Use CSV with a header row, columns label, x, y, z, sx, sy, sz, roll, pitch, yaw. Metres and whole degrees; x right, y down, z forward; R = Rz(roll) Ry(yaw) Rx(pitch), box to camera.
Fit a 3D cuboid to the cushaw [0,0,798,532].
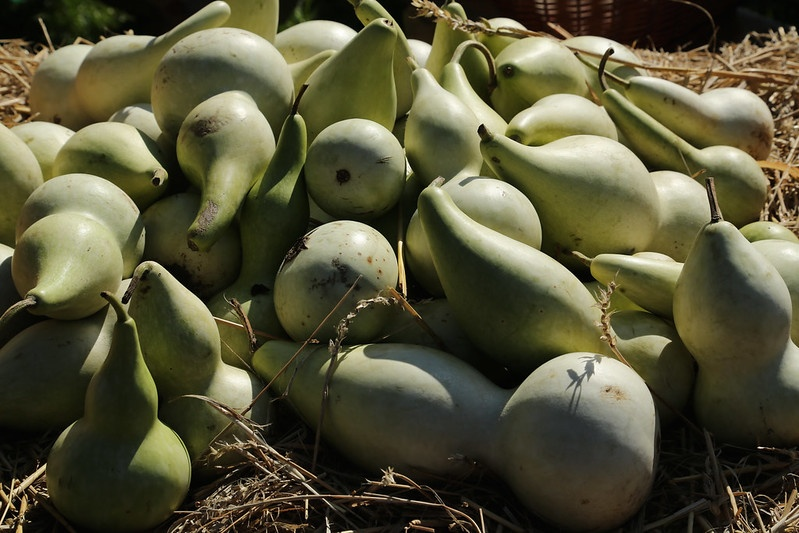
label,x,y,z,sx,sy,sz,roll,pitch,yaw
cushaw,-0.103,0.089,1.762,1.075,0.386,1.011,-1,31,-5
